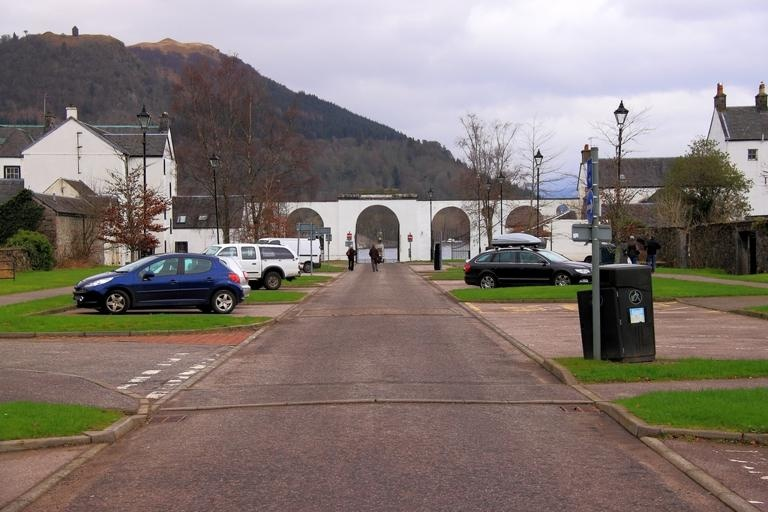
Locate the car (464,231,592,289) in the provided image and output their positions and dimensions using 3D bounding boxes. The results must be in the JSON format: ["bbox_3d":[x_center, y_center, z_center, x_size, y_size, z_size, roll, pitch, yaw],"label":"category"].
[{"bbox_3d":[6.105,0.279,37.161,5.429,2.153,2.445,-1,1,9],"label":"car"}]

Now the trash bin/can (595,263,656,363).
[{"bbox_3d":[4.948,1.147,17.756,1.114,1.991,1.132,-1,-2,29],"label":"trash bin/can"}]
